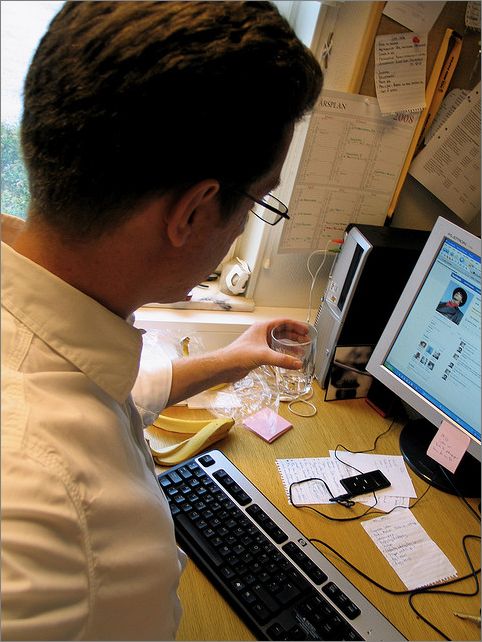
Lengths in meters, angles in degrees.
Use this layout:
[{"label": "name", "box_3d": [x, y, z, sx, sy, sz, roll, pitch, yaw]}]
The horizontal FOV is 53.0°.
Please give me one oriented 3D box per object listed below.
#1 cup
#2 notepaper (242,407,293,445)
[{"label": "cup", "box_3d": [0.108, 0.079, 0.991, 0.130, 0.198, 0.125, -2, 39, 1]}, {"label": "notepaper", "box_3d": [0.056, 0.215, 0.996, 0.063, 0.013, 0.066, -24, 40, -36]}]
